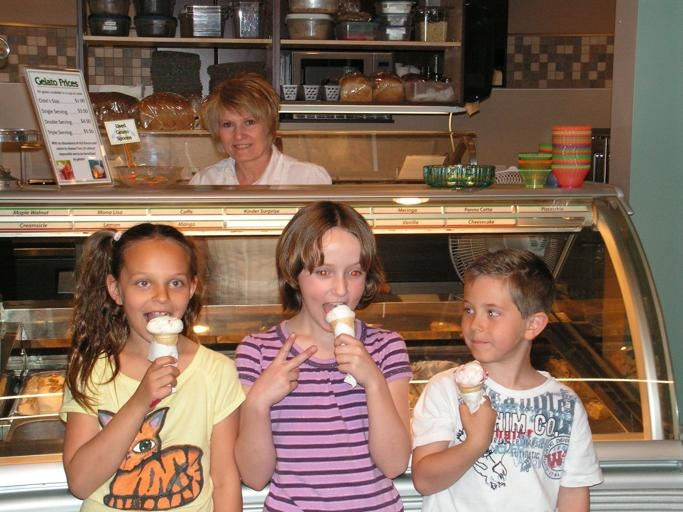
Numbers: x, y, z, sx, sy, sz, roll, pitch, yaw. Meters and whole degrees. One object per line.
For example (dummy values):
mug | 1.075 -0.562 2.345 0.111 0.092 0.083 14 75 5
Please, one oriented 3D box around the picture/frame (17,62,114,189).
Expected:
picture/frame | -0.934 -0.446 2.286 0.202 0.379 0.195 -17 21 -37

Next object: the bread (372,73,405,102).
bread | 0.293 -1.100 4.488 0.234 0.185 0.199 2 1 -5

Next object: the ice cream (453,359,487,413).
ice cream | 0.348 0.359 1.819 0.074 0.126 0.070 7 20 33

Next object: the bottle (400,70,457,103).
bottle | 0.591 -1.120 4.481 0.304 0.104 0.208 2 3 33

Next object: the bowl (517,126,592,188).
bowl | 0.777 -0.357 2.434 0.246 0.208 0.152 1 17 15

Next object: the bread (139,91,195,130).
bread | -1.210 -0.970 4.575 0.344 0.175 0.298 -1 7 -11

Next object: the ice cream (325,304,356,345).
ice cream | 0.004 0.180 1.773 0.056 0.074 0.059 3 7 5

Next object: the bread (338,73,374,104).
bread | 0.078 -1.086 4.454 0.234 0.186 0.205 0 -4 -8

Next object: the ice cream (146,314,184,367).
ice cream | -0.464 0.216 1.747 0.098 0.114 0.115 -7 16 -12
